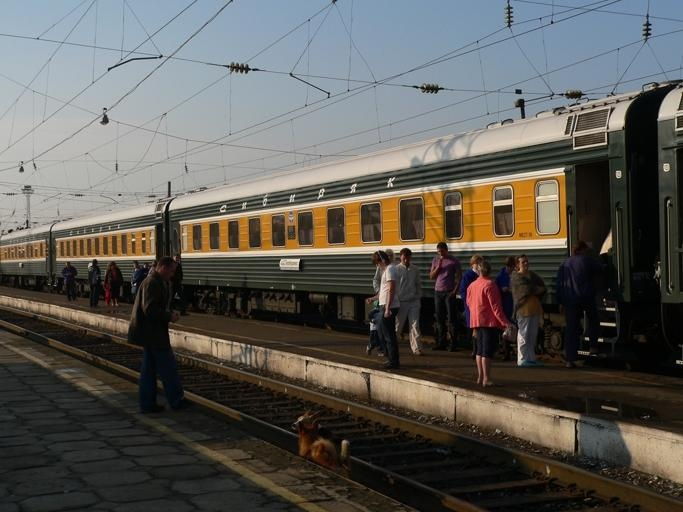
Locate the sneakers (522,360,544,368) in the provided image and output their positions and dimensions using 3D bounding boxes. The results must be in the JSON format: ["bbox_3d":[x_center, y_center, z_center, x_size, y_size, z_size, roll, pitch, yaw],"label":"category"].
[{"bbox_3d":[3.109,1.743,11.095,0.348,0.137,0.125,-2,1,1],"label":"sneakers"}]

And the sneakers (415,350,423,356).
[{"bbox_3d":[1.434,1.777,12.598,0.125,0.054,0.169,0,-2,2],"label":"sneakers"}]

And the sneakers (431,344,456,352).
[{"bbox_3d":[2.004,1.744,13.124,0.496,0.211,0.149,4,-4,-21],"label":"sneakers"}]

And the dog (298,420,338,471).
[{"bbox_3d":[-0.229,1.923,7.032,0.200,0.416,0.575,-1,-1,-39],"label":"dog"}]

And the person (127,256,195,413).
[{"bbox_3d":[-2.498,1.035,9.233,0.699,1.503,0.772,-2,-1,-14],"label":"person"}]
